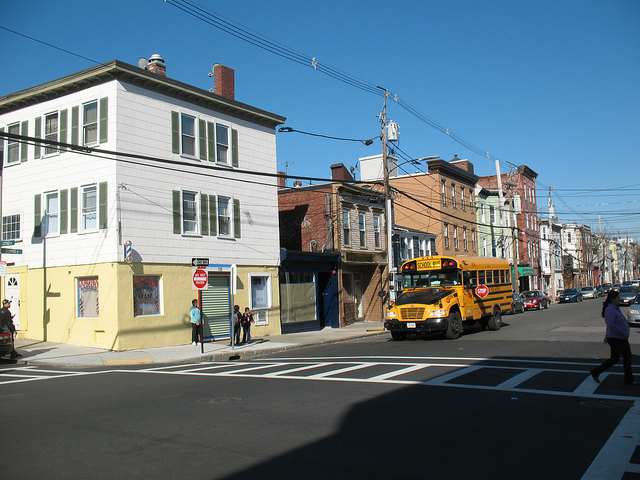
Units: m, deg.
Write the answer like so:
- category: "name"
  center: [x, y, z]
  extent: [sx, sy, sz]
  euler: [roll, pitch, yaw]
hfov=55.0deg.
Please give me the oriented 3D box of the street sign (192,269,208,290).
- category: "street sign"
  center: [-4.458, 1.418, 22.759]
  extent: [0.490, 0.686, 0.336]
  euler: [-1, -1, -20]

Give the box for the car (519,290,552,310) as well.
- category: "car"
  center: [17.500, 4.828, 49.833]
  extent: [1.195, 0.977, 2.778]
  euler: [-6, -11, 33]

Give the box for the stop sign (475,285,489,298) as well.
- category: "stop sign"
  center: [7.157, 2.275, 27.110]
  extent: [0.484, 0.535, 0.528]
  euler: [0, -14, 30]

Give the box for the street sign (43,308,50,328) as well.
- category: "street sign"
  center: [-11.654, 3.315, 26.100]
  extent: [0.324, 0.742, 0.046]
  euler: [-1, 0, 14]

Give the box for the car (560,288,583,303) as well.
- category: "car"
  center: [24.137, 5.351, 59.004]
  extent: [1.445, 1.228, 2.344]
  euler: [-1, -1, 41]

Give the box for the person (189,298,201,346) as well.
- category: "person"
  center: [-5.223, 3.453, 25.613]
  extent: [0.380, 1.859, 1.483]
  euler: [-1, -1, -13]

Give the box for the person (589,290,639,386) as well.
- category: "person"
  center: [6.952, 2.276, 14.443]
  extent: [0.939, 2.176, 0.876]
  euler: [-1, 0, 17]

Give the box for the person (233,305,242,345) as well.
- category: "person"
  center: [-3.458, 3.547, 25.778]
  extent: [0.354, 1.680, 1.509]
  euler: [-1, -1, -7]

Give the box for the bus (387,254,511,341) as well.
- category: "bus"
  center: [5.534, 2.461, 27.055]
  extent: [2.879, 2.761, 5.857]
  euler: [-8, -11, 35]
